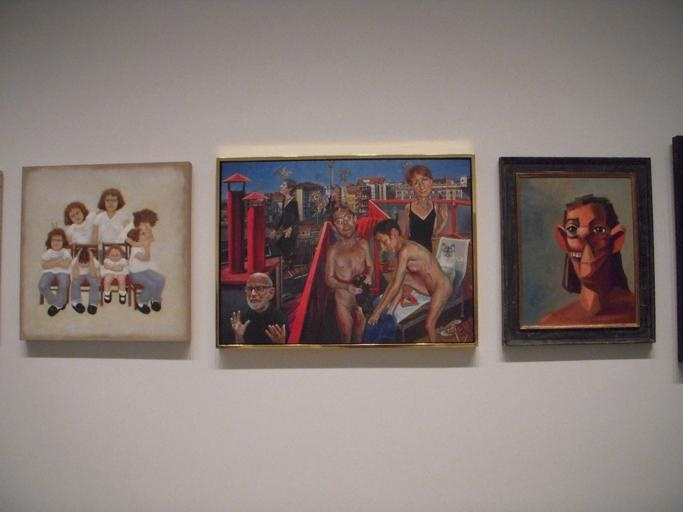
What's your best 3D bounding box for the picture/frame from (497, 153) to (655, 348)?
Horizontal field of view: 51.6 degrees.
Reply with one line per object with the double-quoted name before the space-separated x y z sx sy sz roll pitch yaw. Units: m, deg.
"picture/frame" 1.010 -0.012 3.078 0.754 1.031 0.072 0 -2 -4
